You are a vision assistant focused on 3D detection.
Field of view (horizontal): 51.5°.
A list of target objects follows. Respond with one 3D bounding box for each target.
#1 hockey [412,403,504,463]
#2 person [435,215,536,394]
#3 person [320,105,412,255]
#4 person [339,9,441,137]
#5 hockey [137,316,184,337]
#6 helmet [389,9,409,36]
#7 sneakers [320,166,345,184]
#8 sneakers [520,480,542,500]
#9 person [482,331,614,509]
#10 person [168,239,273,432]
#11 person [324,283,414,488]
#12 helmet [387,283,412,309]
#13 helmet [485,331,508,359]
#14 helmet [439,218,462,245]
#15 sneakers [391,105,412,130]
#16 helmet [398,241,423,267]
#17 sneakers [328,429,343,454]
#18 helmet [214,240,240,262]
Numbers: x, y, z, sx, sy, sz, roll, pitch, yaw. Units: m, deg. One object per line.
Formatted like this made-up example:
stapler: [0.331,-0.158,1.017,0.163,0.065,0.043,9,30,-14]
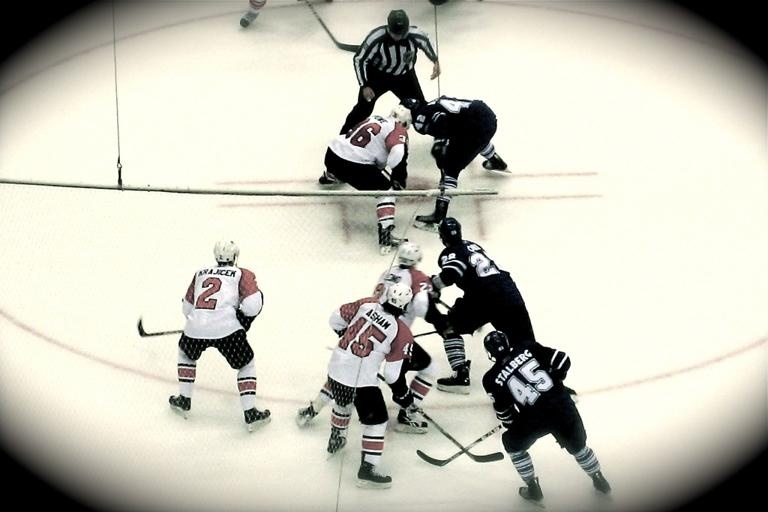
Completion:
hockey: [0.741,1.684,7.430,0.595,0.526,0.012,40,32,-21]
person: [1.014,0.554,8.001,1.316,0.772,1.773,-13,53,17]
person: [-0.178,-0.806,9.204,0.870,1.461,1.212,-14,42,-42]
person: [0.097,-2.191,10.069,1.252,2.047,0.853,-6,48,-7]
hockey: [-2.336,0.745,8.200,0.352,0.156,0.264,-1,0,-12]
helmet: [0.190,-2.823,9.591,0.235,0.290,0.266,2,-18,2]
sneakers: [-0.650,-0.971,9.687,0.370,0.153,0.121,3,39,-3]
sneakers: [1.308,2.076,7.055,0.077,0.164,0.175,-18,37,-28]
person: [1.442,1.472,7.137,0.800,0.561,1.833,-22,34,6]
person: [-1.518,0.721,7.710,1.022,1.570,0.811,7,19,12]
person: [-0.108,1.124,7.233,0.801,1.650,0.910,4,19,2]
helmet: [0.139,0.352,7.307,0.191,0.223,0.233,17,41,11]
helmet: [1.028,0.800,7.288,0.207,0.250,0.236,-14,9,0]
helmet: [0.662,-0.263,8.265,0.227,0.265,0.275,-5,25,-1]
sneakers: [0.232,-1.615,9.262,0.208,0.250,0.258,16,-8,26]
helmet: [0.230,-0.016,7.906,0.249,0.226,0.193,-10,45,-15]
sneakers: [-0.427,1.722,7.349,0.161,0.217,0.087,12,-4,5]
helmet: [-1.531,-0.067,7.888,0.186,0.218,0.234,5,23,0]
